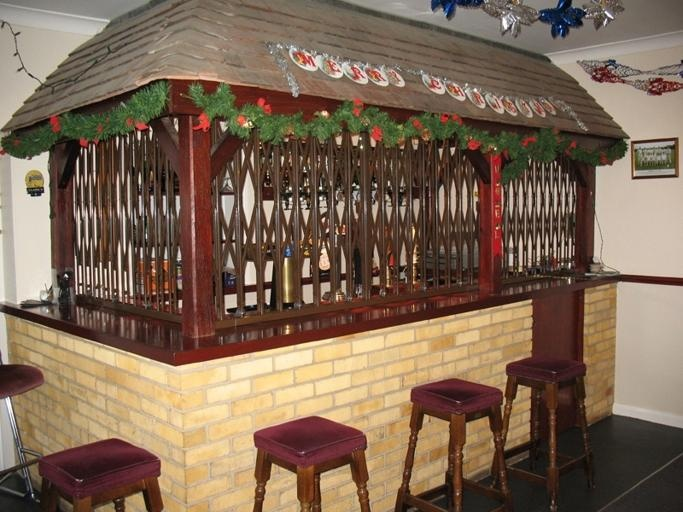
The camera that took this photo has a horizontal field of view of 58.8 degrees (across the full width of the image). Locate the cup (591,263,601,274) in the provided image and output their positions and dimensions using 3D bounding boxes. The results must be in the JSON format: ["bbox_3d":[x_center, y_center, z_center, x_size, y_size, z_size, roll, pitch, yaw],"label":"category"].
[{"bbox_3d":[2.774,0.118,6.606,0.169,0.106,0.060,-7,6,-35],"label":"cup"}]

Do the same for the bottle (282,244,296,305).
[{"bbox_3d":[-0.422,0.134,4.812,0.101,0.488,0.490,-4,4,-6],"label":"bottle"}]
